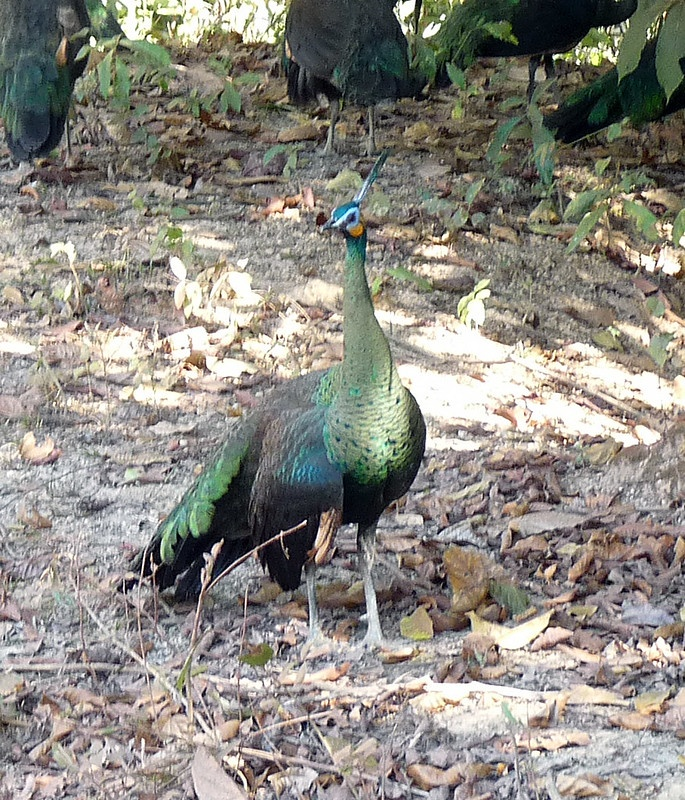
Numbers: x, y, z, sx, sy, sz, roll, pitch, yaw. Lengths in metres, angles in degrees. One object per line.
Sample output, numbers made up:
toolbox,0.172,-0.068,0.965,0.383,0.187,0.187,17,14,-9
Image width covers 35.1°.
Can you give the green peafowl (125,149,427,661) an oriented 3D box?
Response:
green peafowl,-0.180,0.023,3.215,0.810,1.352,0.380,1,14,32
